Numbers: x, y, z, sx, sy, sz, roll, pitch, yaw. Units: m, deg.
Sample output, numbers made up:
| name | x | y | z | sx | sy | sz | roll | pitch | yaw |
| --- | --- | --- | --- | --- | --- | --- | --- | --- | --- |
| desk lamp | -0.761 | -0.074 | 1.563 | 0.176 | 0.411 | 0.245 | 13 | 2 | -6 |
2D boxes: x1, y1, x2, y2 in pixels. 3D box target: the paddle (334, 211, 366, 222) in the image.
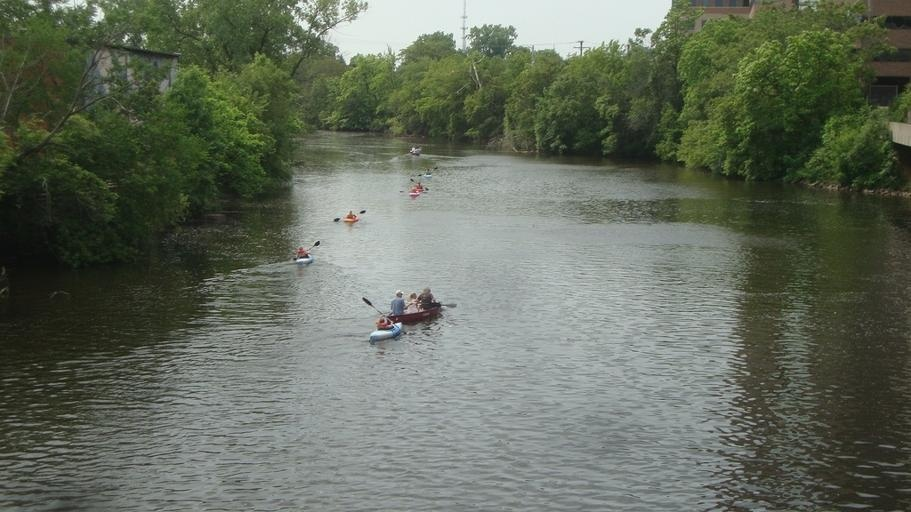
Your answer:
| name | x | y | z | sx | sy | sz | roll | pitch | yaw |
| --- | --- | --- | --- | --- | --- | --- | --- | --- | --- |
| paddle | -10.256 | -3.698 | 87.354 | 1.238 | 1.021 | 3.583 | -3 | -3 | 5 |

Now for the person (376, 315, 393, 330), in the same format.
| name | x | y | z | sx | sy | sz | roll | pitch | yaw |
| --- | --- | --- | --- | --- | --- | --- | --- | --- | --- |
| person | -4.862 | 4.517 | 61.363 | 0.967 | 0.348 | 1.091 | 1 | 9 | -2 |

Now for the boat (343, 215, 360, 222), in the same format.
| name | x | y | z | sx | sy | sz | roll | pitch | yaw |
| --- | --- | --- | --- | --- | --- | --- | --- | --- | --- |
| boat | -9.820 | -3.564 | 86.145 | 1.921 | 0.732 | 1.644 | -2 | 9 | -27 |

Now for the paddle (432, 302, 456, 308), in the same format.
| name | x | y | z | sx | sy | sz | roll | pitch | yaw |
| --- | --- | --- | --- | --- | --- | --- | --- | --- | --- |
| paddle | -0.904 | 3.498 | 64.419 | 2.341 | 0.298 | 0.458 | -1 | 44 | -33 |

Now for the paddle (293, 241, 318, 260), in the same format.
| name | x | y | z | sx | sy | sz | roll | pitch | yaw |
| --- | --- | --- | --- | --- | --- | --- | --- | --- | --- |
| paddle | -12.433 | -0.425 | 74.395 | 1.285 | 0.794 | 2.769 | 4 | 13 | 21 |

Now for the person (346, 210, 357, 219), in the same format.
| name | x | y | z | sx | sy | sz | roll | pitch | yaw |
| --- | --- | --- | --- | --- | --- | --- | --- | --- | --- |
| person | -10.001 | -3.801 | 86.058 | 1.053 | 0.381 | 1.090 | 1 | 12 | -6 |

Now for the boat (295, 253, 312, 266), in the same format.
| name | x | y | z | sx | sy | sz | roll | pitch | yaw |
| --- | --- | --- | --- | --- | --- | --- | --- | --- | --- |
| boat | -12.311 | 0.339 | 72.883 | 1.393 | 0.695 | 1.067 | 0 | 9 | -15 |

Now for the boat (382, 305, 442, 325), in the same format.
| name | x | y | z | sx | sy | sz | roll | pitch | yaw |
| --- | --- | --- | --- | --- | --- | --- | --- | --- | --- |
| boat | -3.151 | 4.359 | 62.582 | 5.121 | 0.692 | 1.182 | -11 | 12 | -36 |

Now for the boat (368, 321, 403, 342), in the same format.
| name | x | y | z | sx | sy | sz | roll | pitch | yaw |
| --- | --- | --- | --- | --- | --- | --- | --- | --- | --- |
| boat | -4.718 | 5.186 | 60.807 | 2.422 | 1.115 | 0.962 | -2 | 10 | -28 |
